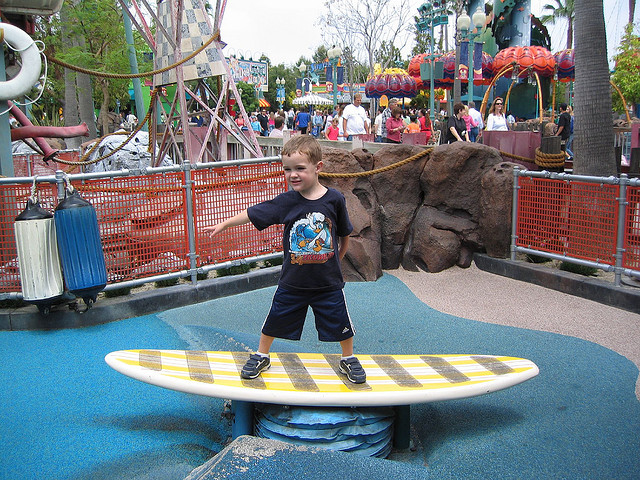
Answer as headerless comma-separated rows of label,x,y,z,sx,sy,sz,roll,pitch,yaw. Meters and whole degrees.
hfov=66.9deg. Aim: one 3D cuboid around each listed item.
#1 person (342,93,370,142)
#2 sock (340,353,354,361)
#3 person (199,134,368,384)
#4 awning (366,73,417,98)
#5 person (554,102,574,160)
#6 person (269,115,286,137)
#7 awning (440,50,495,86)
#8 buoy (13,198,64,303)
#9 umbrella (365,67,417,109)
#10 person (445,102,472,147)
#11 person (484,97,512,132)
person,0.958,-3.292,13.107,0.717,1.250,1.778,1,14,6
sock,0.211,0.905,3.763,0.097,0.046,0.038,-17,3,22
person,-0.170,0.132,3.664,0.844,1.781,0.407,-2,13,-4
awning,3.560,-7.783,24.539,1.491,0.843,1.591,5,19,26
person,6.123,-2.702,12.251,0.578,1.448,0.525,8,15,39
person,-1.389,-3.665,15.665,0.492,0.671,1.077,-2,14,-5
awning,6.775,-8.058,22.395,2.299,1.625,8.710,4,15,19
buoy,-2.933,0.117,5.052,0.361,1.062,0.294,4,14,18
umbrella,3.667,-7.747,25.349,2.291,2.011,2.446,-2,13,-1
person,2.786,-2.339,9.790,0.438,0.767,0.867,3,14,15
person,4.243,-3.005,11.587,0.400,0.707,1.470,4,15,20
